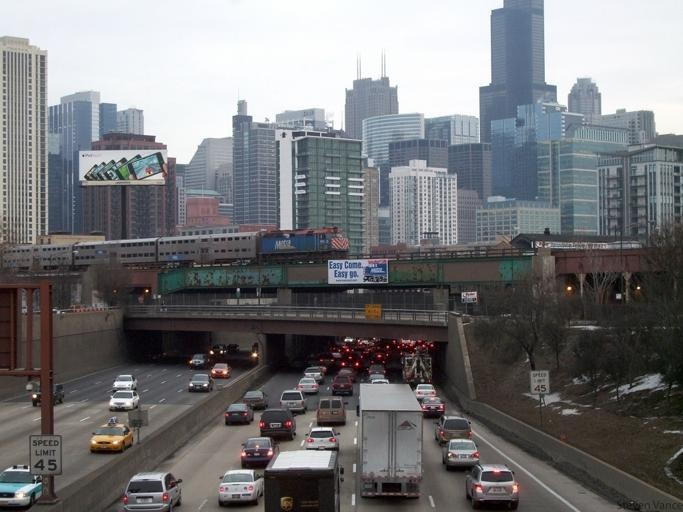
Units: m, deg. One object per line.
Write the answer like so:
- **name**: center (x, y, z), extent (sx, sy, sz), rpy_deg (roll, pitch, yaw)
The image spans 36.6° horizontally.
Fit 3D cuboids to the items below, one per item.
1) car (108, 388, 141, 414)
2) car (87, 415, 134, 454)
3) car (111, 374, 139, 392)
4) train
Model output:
- **car**: center (-16.192, 10.790, 76.985), extent (1.954, 1.309, 3.441), rpy_deg (-2, 2, -7)
- **car**: center (-13.610, 10.823, 62.504), extent (1.503, 1.384, 2.804), rpy_deg (0, -5, 0)
- **car**: center (-17.665, 10.400, 85.195), extent (1.279, 1.080, 3.008), rpy_deg (-1, -9, -2)
- **train**: center (-23.944, -0.703, 140.347), extent (55.549, 4.255, 4.712), rpy_deg (-2, 2, 30)
